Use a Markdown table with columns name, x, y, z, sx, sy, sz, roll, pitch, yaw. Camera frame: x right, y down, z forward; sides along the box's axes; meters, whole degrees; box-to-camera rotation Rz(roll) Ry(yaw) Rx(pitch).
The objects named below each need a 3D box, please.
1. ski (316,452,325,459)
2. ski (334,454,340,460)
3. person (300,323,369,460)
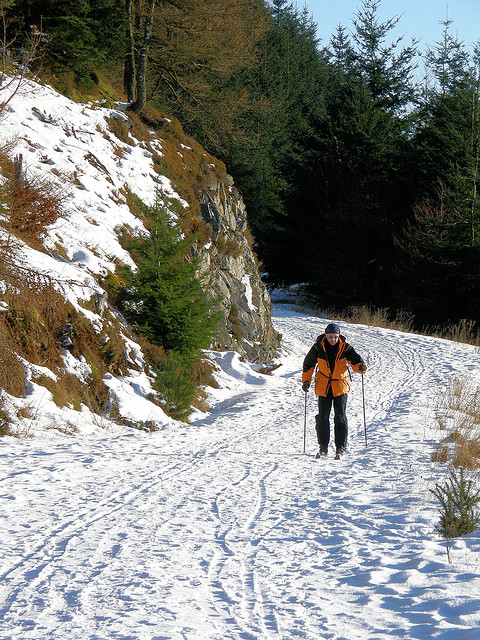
| name | x | y | z | sx | sy | sz | roll | pitch | yaw |
| --- | --- | --- | --- | --- | --- | --- | --- | --- | --- |
| ski | 1.080 | 1.818 | 11.378 | 0.070 | 0.068 | 0.061 | 0 | 5 | -3 |
| ski | 1.312 | 1.827 | 11.344 | 0.072 | 0.068 | 0.020 | 1 | 0 | 12 |
| person | 1.238 | 0.929 | 11.509 | 0.796 | 1.766 | 0.410 | 9 | 8 | 36 |
